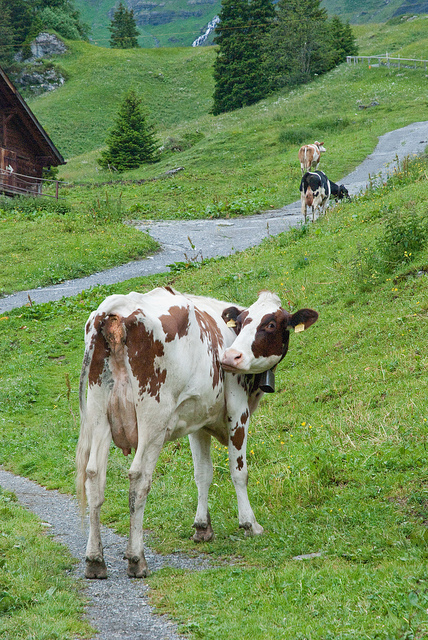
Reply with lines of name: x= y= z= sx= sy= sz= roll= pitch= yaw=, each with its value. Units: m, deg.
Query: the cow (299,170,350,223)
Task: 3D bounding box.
cow: x=3.096 y=-3.426 z=28.203 sx=0.571 sy=1.320 sz=2.229 roll=0 pitch=3 yaw=32

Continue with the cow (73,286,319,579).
cow: x=-0.333 y=1.051 z=10.616 sx=2.674 sy=2.856 sz=0.862 roll=-13 pitch=12 yaw=-40
